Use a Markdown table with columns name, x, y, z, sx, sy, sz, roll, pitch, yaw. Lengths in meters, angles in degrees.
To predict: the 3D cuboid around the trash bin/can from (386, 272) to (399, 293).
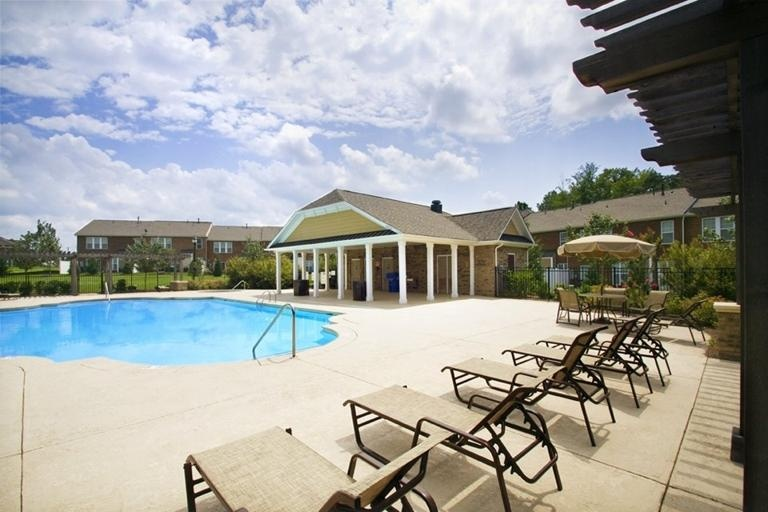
| name | x | y | z | sx | sy | sz | roll | pitch | yaw |
| --- | --- | --- | --- | --- | --- | --- | --- | --- | --- |
| trash bin/can | 0.486 | 1.558 | 28.180 | 1.044 | 1.417 | 0.997 | -1 | -4 | -3 |
